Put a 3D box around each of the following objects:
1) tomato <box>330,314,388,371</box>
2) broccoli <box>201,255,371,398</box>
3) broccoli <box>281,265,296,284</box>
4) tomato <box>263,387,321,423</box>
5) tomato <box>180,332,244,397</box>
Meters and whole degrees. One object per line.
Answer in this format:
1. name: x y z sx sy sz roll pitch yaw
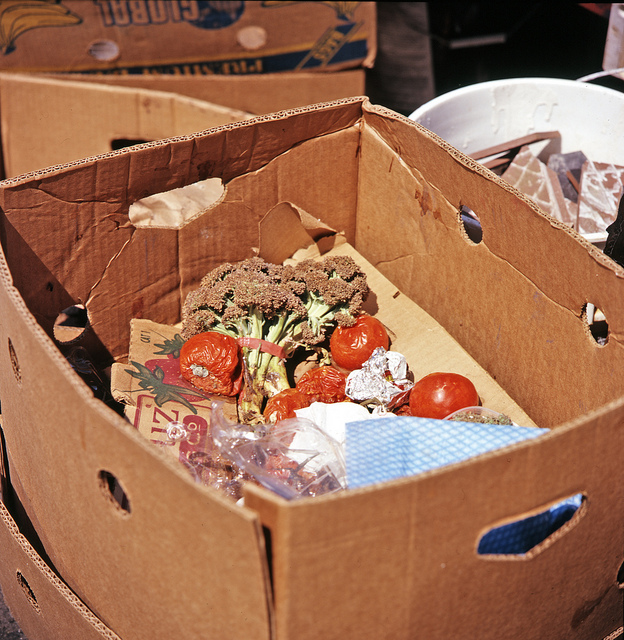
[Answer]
1. tomato: 0.104 0.040 1.686 0.146 0.072 0.143 -5 43 17
2. broccoli: -0.081 0.027 1.777 0.374 0.350 0.402 12 3 29
3. broccoli: -0.060 -0.108 1.710 0.029 0.021 0.041 -7 37 2
4. tomato: -0.050 0.179 1.543 0.081 0.042 0.135 13 33 26
5. tomato: -0.223 0.105 1.597 0.138 0.138 0.099 -6 31 -5
